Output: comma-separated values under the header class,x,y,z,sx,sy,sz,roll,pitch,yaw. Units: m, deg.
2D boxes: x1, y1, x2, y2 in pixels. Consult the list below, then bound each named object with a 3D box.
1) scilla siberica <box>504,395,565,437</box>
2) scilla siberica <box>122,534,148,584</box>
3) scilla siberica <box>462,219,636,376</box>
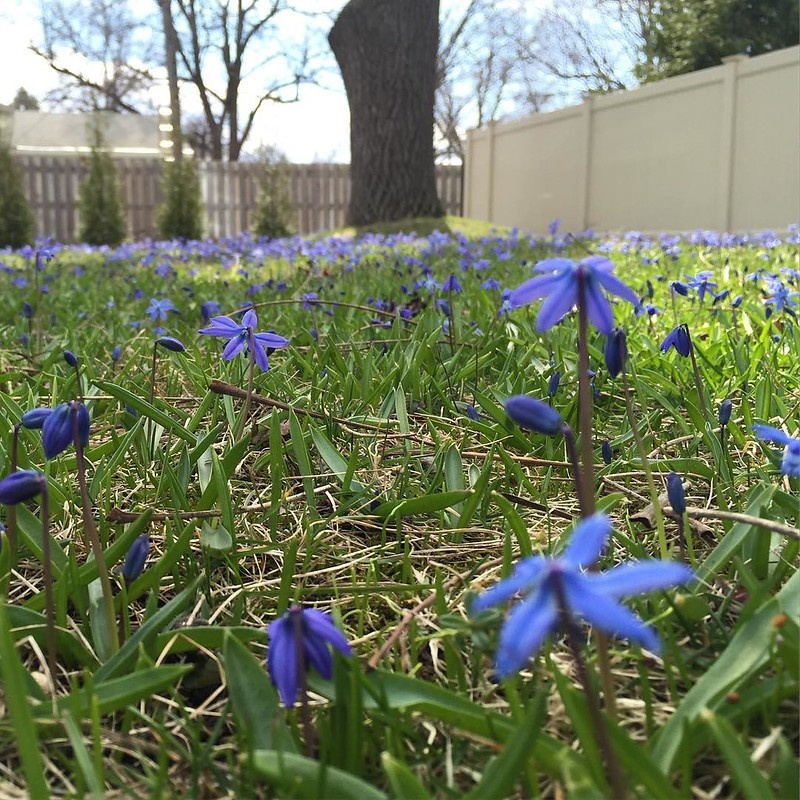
class,x,y,z,sx,sy,sz,roll,pitch,yaw
scilla siberica,0.137,0.011,0.918,0.026,0.042,0.059,-26,18,-18
scilla siberica,-0.384,0.228,1.284,0.021,0.093,0.024,22,36,-3
scilla siberica,0.197,-0.110,0.994,0.128,0.102,0.313,0,11,12
